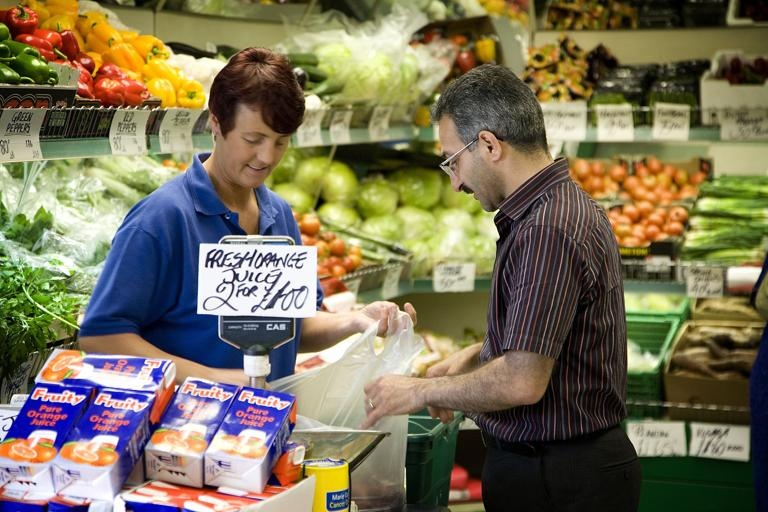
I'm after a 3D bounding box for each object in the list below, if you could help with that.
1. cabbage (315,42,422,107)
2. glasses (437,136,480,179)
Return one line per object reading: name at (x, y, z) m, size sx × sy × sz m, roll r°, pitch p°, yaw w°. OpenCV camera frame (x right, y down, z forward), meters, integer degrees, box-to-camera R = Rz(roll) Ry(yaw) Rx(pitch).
cabbage at (-0.110, -1.081, 3.759) m, size 0.441 × 0.366 × 0.621 m, roll 4°, pitch 18°, yaw 17°
glasses at (0.254, -0.343, 2.150) m, size 0.036 × 0.118 × 0.117 m, roll 43°, pitch 3°, yaw 3°
